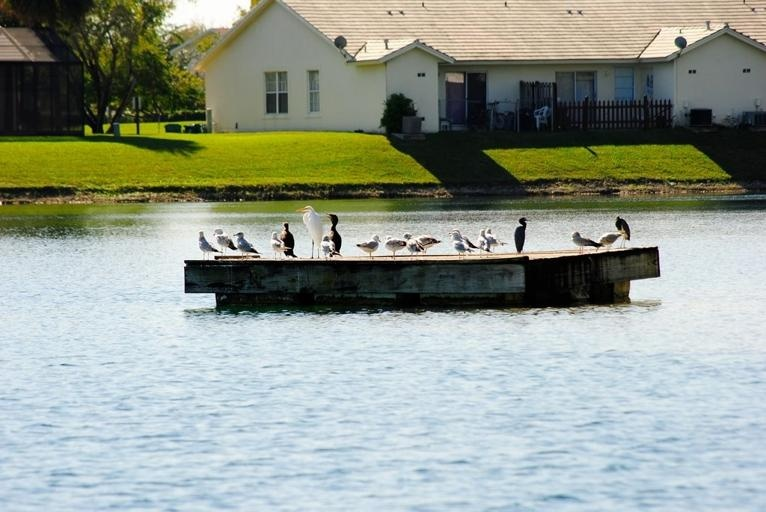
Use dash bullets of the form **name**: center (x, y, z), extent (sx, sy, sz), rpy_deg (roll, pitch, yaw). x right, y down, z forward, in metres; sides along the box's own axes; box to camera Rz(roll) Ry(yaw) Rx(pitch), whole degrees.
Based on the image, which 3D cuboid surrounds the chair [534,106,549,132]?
- **chair**: center (8.274, -7.097, 86.820), extent (0.615, 1.236, 1.126), rpy_deg (-4, 15, -21)

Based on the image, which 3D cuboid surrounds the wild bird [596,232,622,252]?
- **wild bird**: center (7.370, -0.553, 55.378), extent (0.498, 0.733, 1.406), rpy_deg (-12, -11, 26)

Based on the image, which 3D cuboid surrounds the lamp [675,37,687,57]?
- **lamp**: center (15.366, -10.741, 87.258), extent (0.659, 1.037, 1.033), rpy_deg (4, 14, 8)
